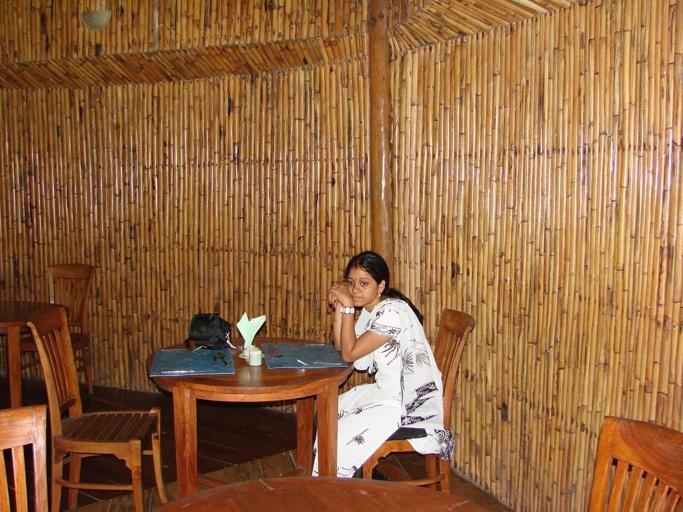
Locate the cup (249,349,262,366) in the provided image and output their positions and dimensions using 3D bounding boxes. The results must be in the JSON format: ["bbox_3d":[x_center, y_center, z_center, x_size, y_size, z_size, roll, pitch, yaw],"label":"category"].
[{"bbox_3d":[-0.449,0.525,3.192,0.072,0.075,0.065,0,2,31],"label":"cup"}]

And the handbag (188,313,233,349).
[{"bbox_3d":[-0.733,0.421,3.421,0.219,0.166,0.186,6,-8,-39],"label":"handbag"}]

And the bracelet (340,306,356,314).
[{"bbox_3d":[0.031,0.291,3.285,0.053,0.038,0.052,2,-2,1],"label":"bracelet"}]

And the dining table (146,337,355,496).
[{"bbox_3d":[-0.448,0.859,3.076,0.909,0.623,0.427,0,0,11],"label":"dining table"}]
